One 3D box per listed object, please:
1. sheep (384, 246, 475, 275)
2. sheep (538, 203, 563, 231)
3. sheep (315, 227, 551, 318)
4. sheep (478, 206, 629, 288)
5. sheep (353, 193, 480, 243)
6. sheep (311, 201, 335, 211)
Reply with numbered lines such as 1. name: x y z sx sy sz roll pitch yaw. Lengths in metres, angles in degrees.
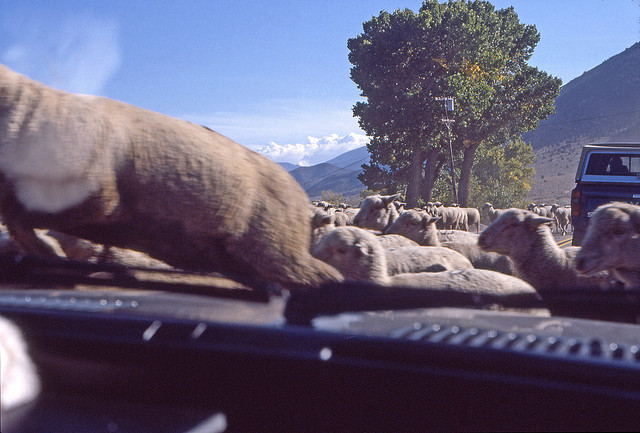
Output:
1. sheep: 0.904 0.349 4.704 0.846 0.281 0.403 1 -2 -11
2. sheep: 4.222 -0.031 10.268 0.171 0.529 0.304 -10 20 21
3. sheep: 0.658 0.292 3.421 1.386 0.399 0.443 1 11 21
4. sheep: 1.736 0.244 4.333 0.816 0.410 0.391 9 -28 -12
5. sheep: 1.727 -0.148 9.859 1.976 0.670 0.957 10 -4 9
6. sheep: 0.101 -0.380 17.845 0.352 0.177 0.701 -26 -24 26
